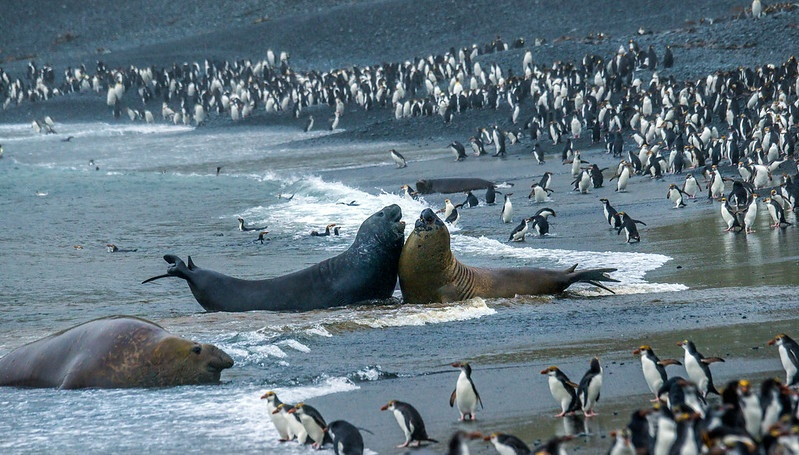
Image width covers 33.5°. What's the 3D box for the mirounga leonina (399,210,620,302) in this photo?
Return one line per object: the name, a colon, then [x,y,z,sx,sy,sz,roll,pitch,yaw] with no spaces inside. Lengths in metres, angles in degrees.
mirounga leonina: [4.297,1.482,53.042,8.358,3.323,3.765,2,-8,0]
